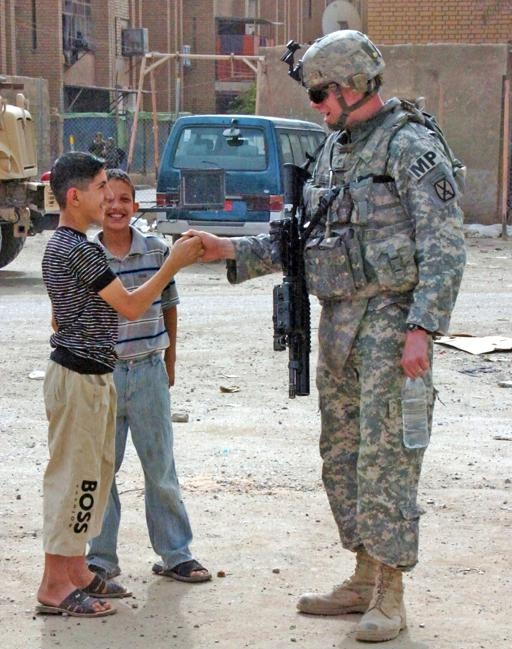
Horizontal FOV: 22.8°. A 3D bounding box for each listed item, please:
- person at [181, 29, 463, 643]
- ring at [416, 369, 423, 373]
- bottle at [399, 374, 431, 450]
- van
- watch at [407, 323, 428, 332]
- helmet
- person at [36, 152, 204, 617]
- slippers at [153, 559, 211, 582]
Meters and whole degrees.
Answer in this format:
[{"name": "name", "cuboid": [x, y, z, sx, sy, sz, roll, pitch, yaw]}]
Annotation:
[{"name": "person", "cuboid": [0.381, 0.013, 4.417, 0.460, 2.084, 0.644, -7, 8, -39]}, {"name": "ring", "cuboid": [0.529, 0.151, 4.163, 0.014, 0.017, 0.006, 1, 12, 7]}, {"name": "bottle", "cuboid": [0.530, 0.293, 4.252, 0.097, 0.234, 0.070, -3, 7, -11]}, {"name": "van", "cuboid": [-0.259, -1.639, 14.547, 1.677, 1.469, 4.636, 1, 5, 9]}, {"name": "watch", "cuboid": [0.518, 0.014, 4.172, 0.044, 0.020, 0.032, 6, -3, -2]}, {"name": "helmet", "cuboid": [0.270, -0.927, 4.448, 0.278, 0.222, 0.301, -3, 19, -1]}, {"name": "person", "cuboid": [-0.544, 0.207, 4.513, 0.532, 1.635, 0.324, -2, 7, -10]}, {"name": "slippers", "cuboid": [-0.285, 0.933, 4.849, 0.173, 0.050, 0.090, -4, -4, 42]}]
